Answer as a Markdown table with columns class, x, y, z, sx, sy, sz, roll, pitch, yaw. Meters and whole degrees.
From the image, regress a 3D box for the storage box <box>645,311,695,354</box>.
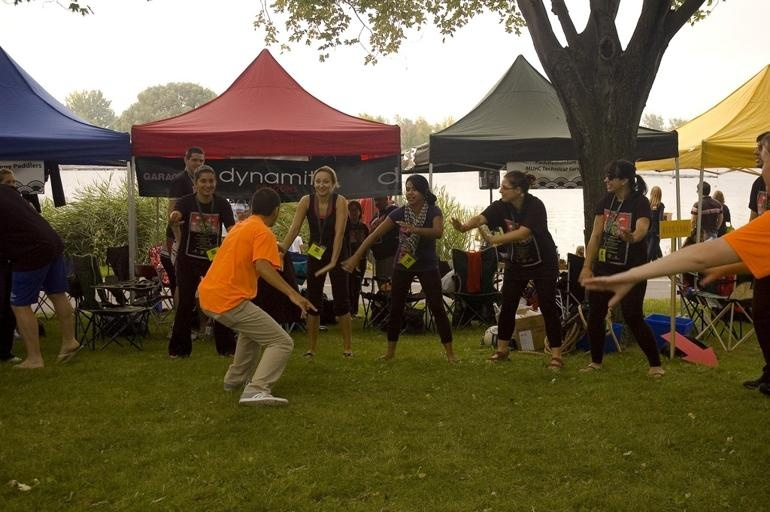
| class | x | y | z | sx | sy | sz | roll | pitch | yaw |
| --- | --- | --- | --- | --- | --- | --- | --- | --- | --- |
| storage box | 3.946 | 0.995 | 8.418 | 0.890 | 0.581 | 0.623 | 1 | 6 | 31 |

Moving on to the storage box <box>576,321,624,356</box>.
| class | x | y | z | sx | sy | sz | roll | pitch | yaw |
| --- | --- | --- | --- | --- | --- | --- | --- | --- | --- |
| storage box | 3.021 | 1.135 | 8.398 | 0.549 | 0.340 | 0.404 | 1 | -1 | 1 |

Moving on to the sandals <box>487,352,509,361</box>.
| class | x | y | z | sx | sy | sz | roll | pitch | yaw |
| --- | --- | --- | --- | --- | --- | --- | --- | --- | --- |
| sandals | 1.495 | 1.302 | 7.855 | 0.306 | 0.125 | 0.103 | 2 | -1 | -14 |

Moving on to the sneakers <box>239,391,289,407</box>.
| class | x | y | z | sx | sy | sz | roll | pitch | yaw |
| --- | --- | --- | --- | --- | --- | --- | --- | --- | --- |
| sneakers | -1.226 | 1.431 | 6.134 | 0.460 | 0.184 | 0.177 | 0 | -8 | 4 |

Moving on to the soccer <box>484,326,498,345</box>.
| class | x | y | z | sx | sy | sz | roll | pitch | yaw |
| --- | --- | --- | --- | --- | --- | --- | --- | --- | --- |
| soccer | 1.545 | 1.164 | 8.881 | 0.219 | 0.281 | 0.260 | -5 | 17 | -9 |

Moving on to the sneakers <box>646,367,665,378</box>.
| class | x | y | z | sx | sy | sz | roll | pitch | yaw |
| --- | --- | --- | --- | --- | --- | --- | --- | --- | --- |
| sneakers | 3.158 | 1.350 | 7.022 | 0.184 | 0.086 | 0.089 | -7 | 10 | 5 |

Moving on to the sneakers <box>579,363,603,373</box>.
| class | x | y | z | sx | sy | sz | roll | pitch | yaw |
| --- | --- | --- | --- | --- | --- | --- | --- | --- | --- |
| sneakers | 2.497 | 1.356 | 7.310 | 0.330 | 0.134 | 0.113 | 2 | -5 | 7 |

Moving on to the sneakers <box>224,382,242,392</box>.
| class | x | y | z | sx | sy | sz | roll | pitch | yaw |
| --- | --- | --- | --- | --- | --- | --- | --- | --- | --- |
| sneakers | -1.658 | 1.417 | 6.537 | 0.201 | 0.089 | 0.068 | 3 | 1 | -6 |
